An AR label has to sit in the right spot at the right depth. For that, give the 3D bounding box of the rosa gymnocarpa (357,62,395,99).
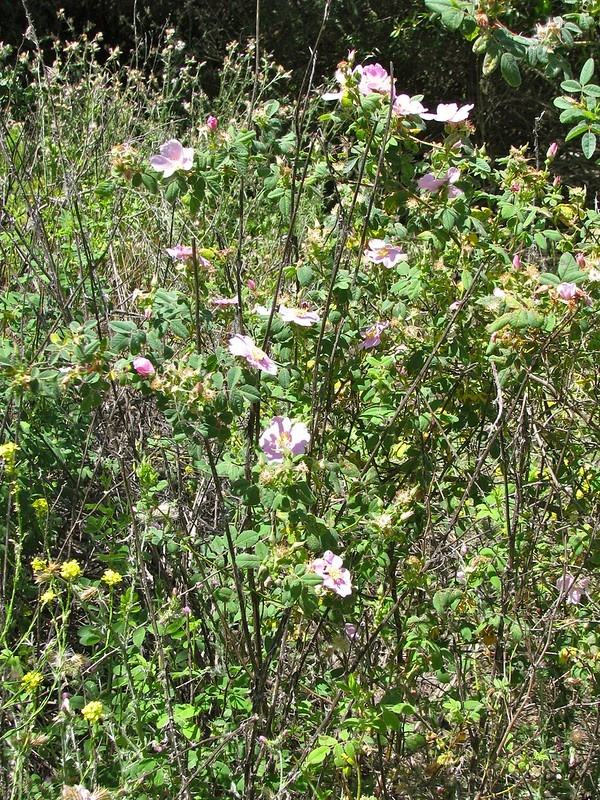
[{"bbox_3d":[0.168,-0.715,1.951,0.074,0.071,0.218,8,35,1],"label":"rosa gymnocarpa"}]

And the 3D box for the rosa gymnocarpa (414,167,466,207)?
[{"bbox_3d":[0.343,-0.517,2.102,0.114,0.083,0.076,21,39,19],"label":"rosa gymnocarpa"}]

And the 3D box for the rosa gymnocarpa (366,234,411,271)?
[{"bbox_3d":[0.213,-0.365,2.189,0.102,0.087,0.101,8,36,2],"label":"rosa gymnocarpa"}]
